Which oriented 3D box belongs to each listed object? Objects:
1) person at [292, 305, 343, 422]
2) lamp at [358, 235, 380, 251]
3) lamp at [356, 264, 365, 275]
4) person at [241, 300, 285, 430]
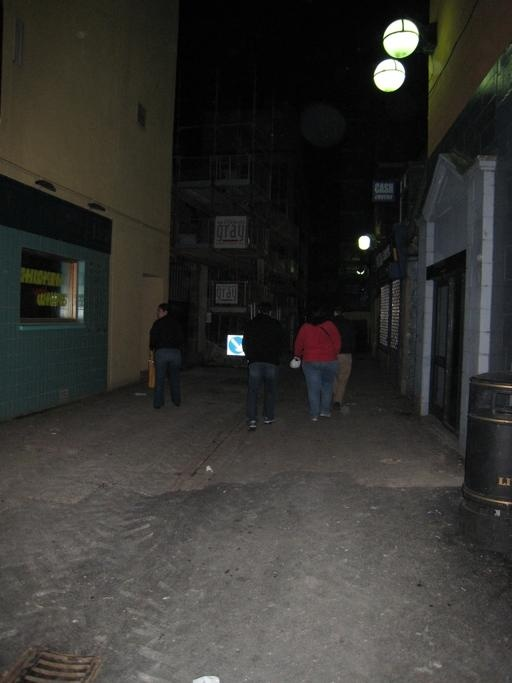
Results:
[{"bbox_3d":[0.958,0.382,8.078,0.809,1.874,0.616,0,1,-23],"label":"person"},{"bbox_3d":[4.011,-3.632,18.072,0.529,0.625,0.827,1,1,24],"label":"lamp"},{"bbox_3d":[5.136,-3.451,24.354,0.451,0.253,0.806,-2,45,6],"label":"lamp"},{"bbox_3d":[0.127,0.364,7.534,0.632,1.920,0.609,0,1,-35],"label":"person"}]
